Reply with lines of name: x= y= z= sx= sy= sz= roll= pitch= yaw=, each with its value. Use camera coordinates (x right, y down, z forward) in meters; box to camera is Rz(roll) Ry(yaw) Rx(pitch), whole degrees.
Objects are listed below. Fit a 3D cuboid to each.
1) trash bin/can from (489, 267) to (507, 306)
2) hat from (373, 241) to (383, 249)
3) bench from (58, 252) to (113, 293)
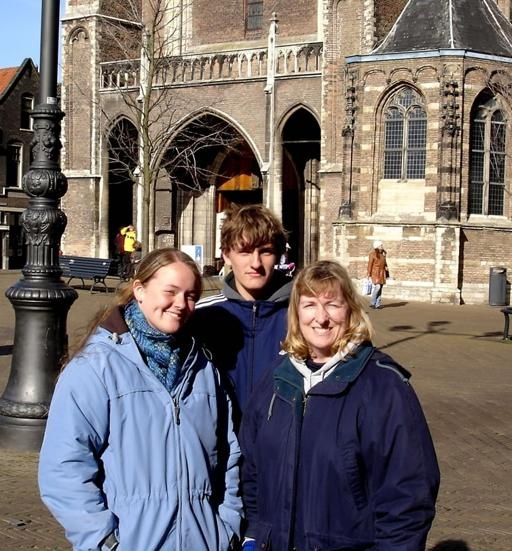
trash bin/can: x=5.228 y=0.279 z=20.826 sx=0.416 sy=0.838 sz=0.547 roll=7 pitch=2 yaw=8
hat: x=2.348 y=-0.573 z=18.299 sx=0.190 sy=0.183 sz=0.222 roll=-1 pitch=-2 yaw=-11
bench: x=-3.813 y=-0.041 z=19.778 sx=1.665 sy=0.619 sz=0.438 roll=7 pitch=18 yaw=33
